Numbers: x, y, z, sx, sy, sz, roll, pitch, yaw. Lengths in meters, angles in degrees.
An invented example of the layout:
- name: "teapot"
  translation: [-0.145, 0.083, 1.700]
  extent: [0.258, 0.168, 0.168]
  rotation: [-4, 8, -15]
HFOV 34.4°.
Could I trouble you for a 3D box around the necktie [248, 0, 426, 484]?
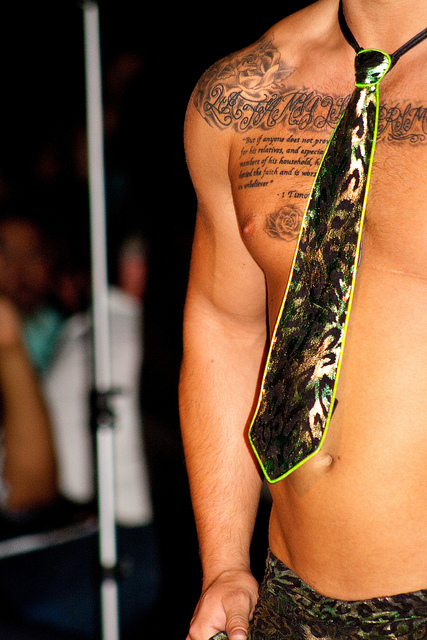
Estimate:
- name: "necktie"
  translation: [0.196, -0.061, 0.960]
  extent: [0.175, 0.059, 0.688]
  rotation: [16, 95, 36]
